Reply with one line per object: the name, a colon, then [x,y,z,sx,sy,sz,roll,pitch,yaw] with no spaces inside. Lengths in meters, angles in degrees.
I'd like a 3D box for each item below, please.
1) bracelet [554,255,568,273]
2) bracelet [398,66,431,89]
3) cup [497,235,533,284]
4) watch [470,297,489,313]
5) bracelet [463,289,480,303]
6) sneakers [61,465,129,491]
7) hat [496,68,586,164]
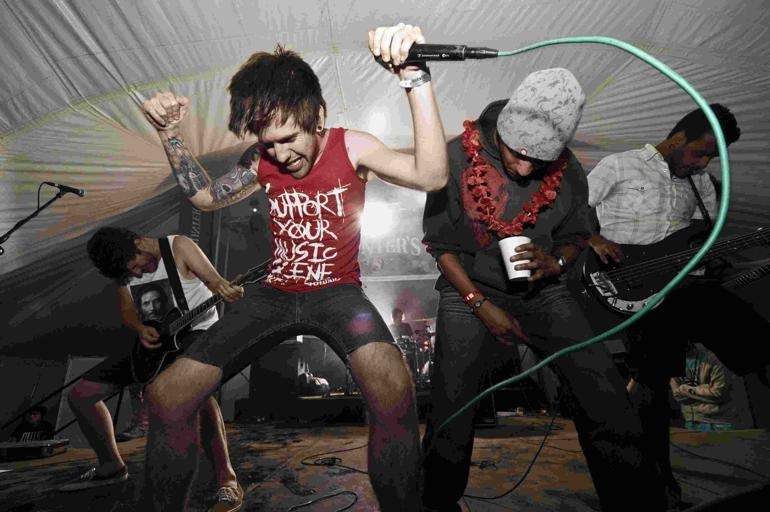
bracelet: [0.929,0.041,1.964,0.065,0.090,0.085,6,-7,-2]
bracelet: [0.120,-0.726,1.541,0.110,0.076,0.028,-19,32,5]
cup: [0.610,0.027,1.938,0.213,0.209,0.203,0,-26,0]
watch: [0.480,0.249,1.919,0.089,0.052,0.083,-30,-12,1]
bracelet: [0.442,0.211,1.922,0.068,0.020,0.064,-9,46,42]
sneakers: [-1.976,1.545,2.606,0.379,0.103,0.145,7,-23,-19]
hat: [0.888,-0.763,2.069,0.374,0.418,0.514,-46,4,27]
